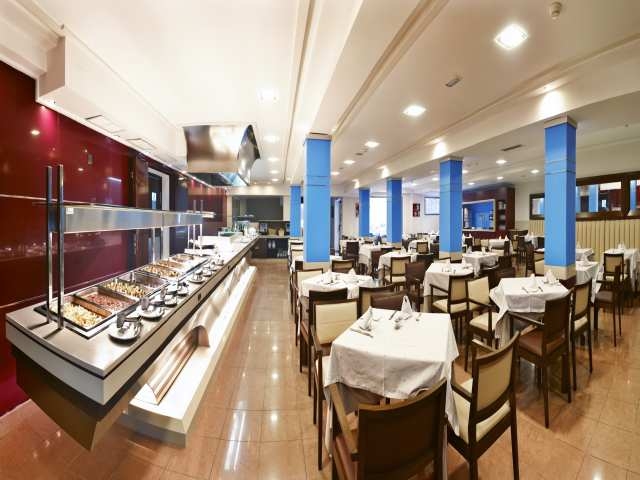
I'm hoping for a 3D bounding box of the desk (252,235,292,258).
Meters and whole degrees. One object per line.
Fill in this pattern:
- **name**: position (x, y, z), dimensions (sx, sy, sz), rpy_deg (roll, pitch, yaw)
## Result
- **desk**: position (-1.632, 0.233, 14.041), dimensions (1.051, 0.820, 0.647), rpy_deg (0, 1, -15)
